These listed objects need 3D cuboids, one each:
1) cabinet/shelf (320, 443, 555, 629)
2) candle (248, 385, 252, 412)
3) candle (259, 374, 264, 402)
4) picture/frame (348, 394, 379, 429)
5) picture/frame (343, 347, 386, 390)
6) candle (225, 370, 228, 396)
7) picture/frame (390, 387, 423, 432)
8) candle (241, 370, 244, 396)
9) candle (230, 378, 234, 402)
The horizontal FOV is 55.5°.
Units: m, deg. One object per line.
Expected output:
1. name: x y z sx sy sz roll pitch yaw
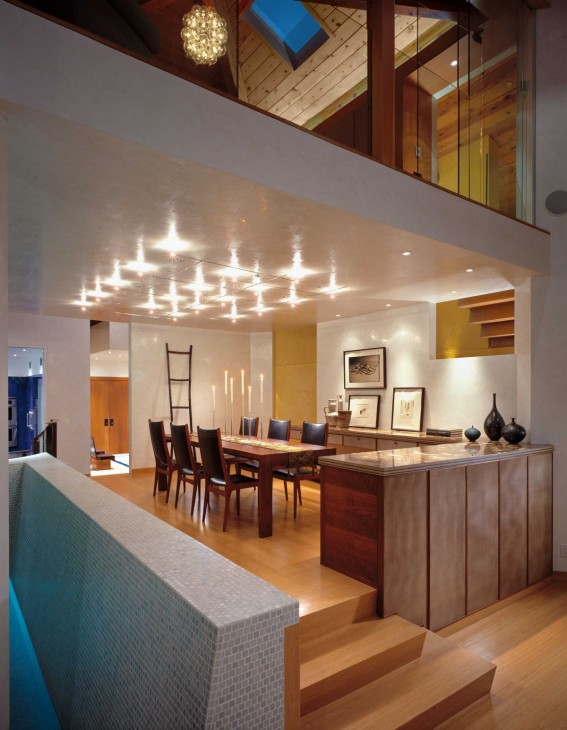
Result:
1. cabinet/shelf: 1.192 1.145 3.921 2.216 1.094 0.657 1 -2 -41
2. candle: -0.577 0.602 9.387 0.076 0.445 0.072 0 -1 -1
3. candle: -0.378 0.414 9.333 0.115 0.468 0.051 -1 -1 36
4. picture/frame: 1.052 0.614 6.950 0.031 0.332 0.400 8 -7 -23
5. picture/frame: 1.051 0.061 7.053 0.061 0.527 0.850 0 -2 -31
6. candle: -0.964 0.305 9.192 0.023 0.400 0.081 -1 -2 41
7. picture/frame: 1.466 0.529 6.327 0.032 0.519 0.438 8 -10 -26
8. candle: -0.711 0.311 9.380 0.095 0.434 0.035 0 -1 -35
9. candle: -0.876 0.435 9.247 0.032 0.439 0.107 -1 -2 41
